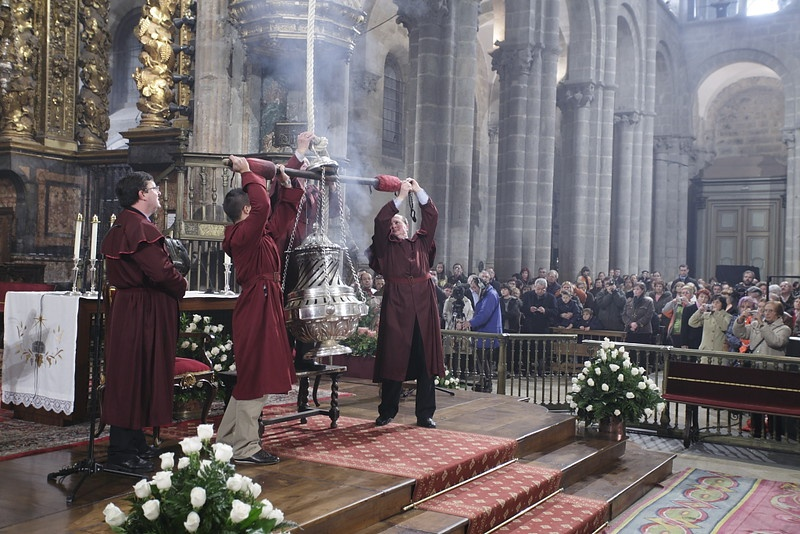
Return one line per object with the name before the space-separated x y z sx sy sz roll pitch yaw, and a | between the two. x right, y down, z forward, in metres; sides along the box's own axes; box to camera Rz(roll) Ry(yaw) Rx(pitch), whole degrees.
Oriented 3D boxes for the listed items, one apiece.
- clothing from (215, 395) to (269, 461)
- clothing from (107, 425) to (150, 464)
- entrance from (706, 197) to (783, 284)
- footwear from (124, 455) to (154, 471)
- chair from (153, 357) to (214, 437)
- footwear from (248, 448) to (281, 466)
clothing | -1.871 1.950 10.273 0.727 0.902 0.364 4 -7 40
clothing | -3.109 2.103 10.162 0.547 0.517 0.272 0 2 -44
entrance | 14.840 -1.103 36.388 3.785 4.466 0.431 1 1 31
footwear | -3.074 2.340 10.190 0.395 0.167 0.141 1 -2 -4
chair | -2.909 1.726 11.655 0.891 0.783 0.882 3 -9 -27
footwear | -1.628 2.332 10.413 0.329 0.128 0.167 0 -6 6
